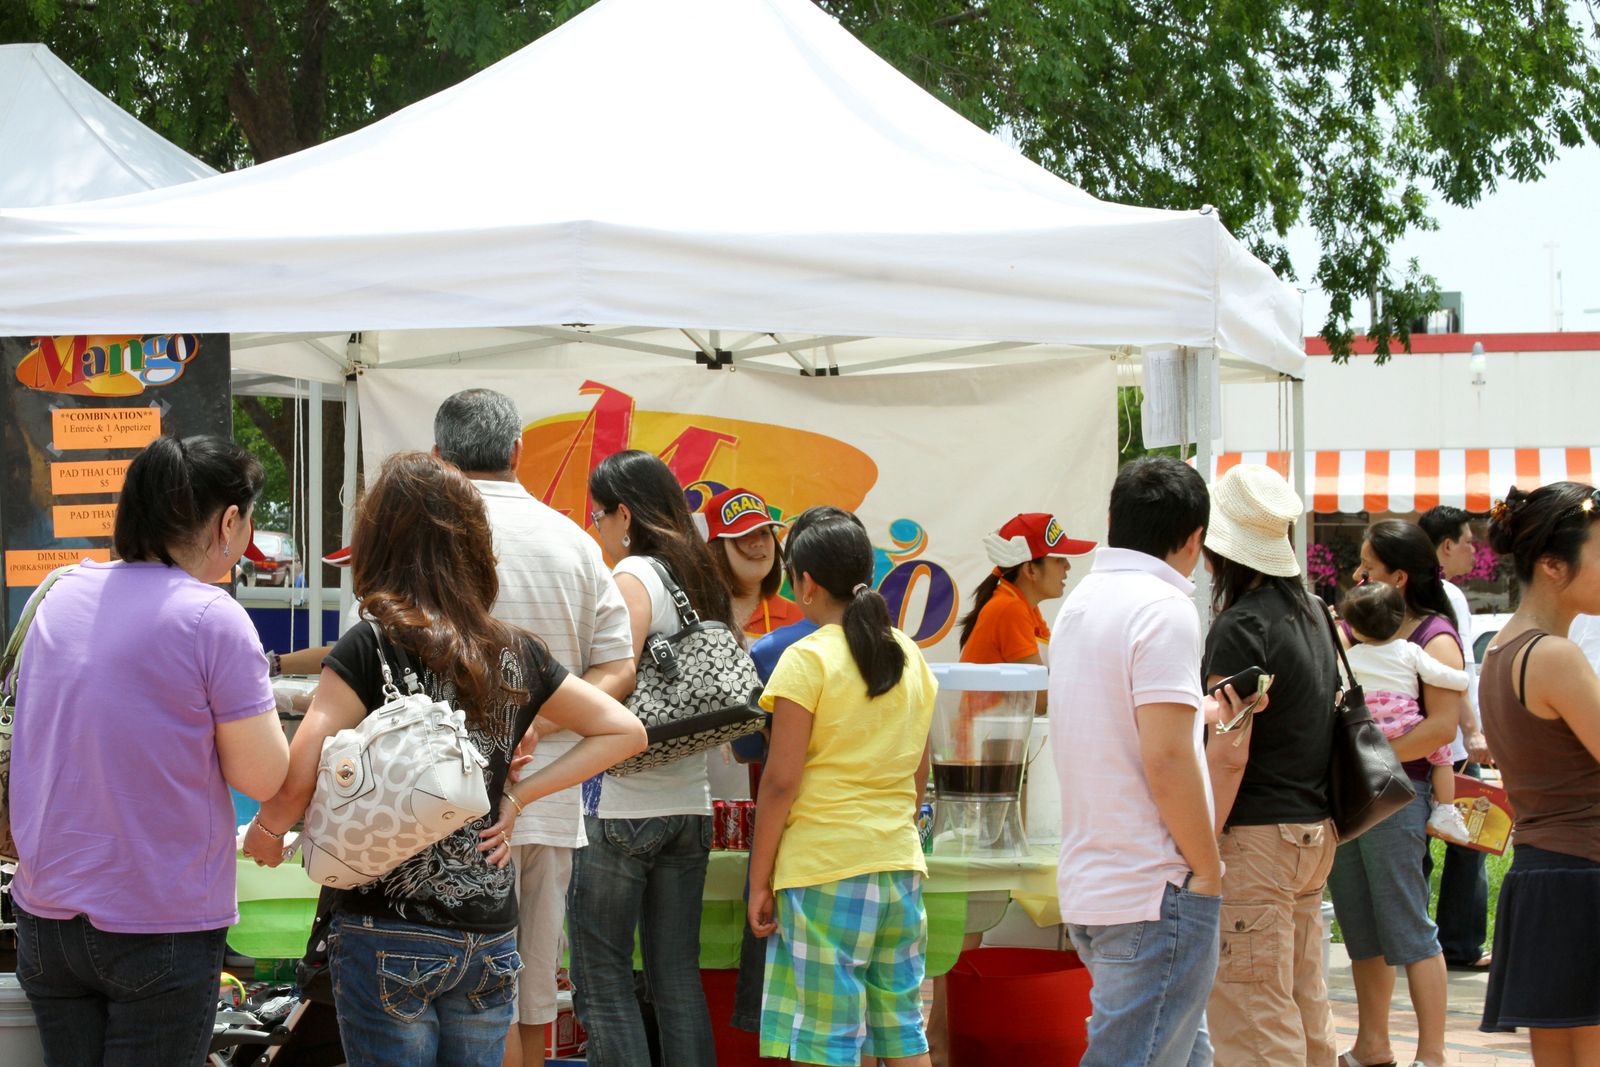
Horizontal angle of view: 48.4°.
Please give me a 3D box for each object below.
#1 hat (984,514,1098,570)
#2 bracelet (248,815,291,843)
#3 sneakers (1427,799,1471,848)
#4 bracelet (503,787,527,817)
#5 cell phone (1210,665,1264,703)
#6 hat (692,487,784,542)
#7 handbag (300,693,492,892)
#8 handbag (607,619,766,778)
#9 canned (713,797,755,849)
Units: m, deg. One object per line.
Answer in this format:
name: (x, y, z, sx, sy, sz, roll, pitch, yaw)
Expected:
hat: (1.039, 0.029, 7.739, 0.385, 0.159, 0.255, -3, 4, -12)
bracelet: (-1.592, 0.876, 5.318, 0.103, 0.057, 0.085, 16, 1, -7)
sneakers: (2.910, 1.313, 7.991, 0.222, 0.159, 0.135, 9, -4, 10)
bracelet: (-0.869, 0.823, 5.420, 0.062, 0.035, 0.049, 36, 11, 33)
cell phone: (1.511, 0.524, 6.112, 0.216, 0.124, 0.157, 1, -3, 13)
hat: (-0.283, -0.057, 7.009, 0.259, 0.149, 0.369, -3, -2, -21)
handbag: (-1.181, 0.735, 5.083, 0.566, 0.437, 0.211, -25, -16, 17)
handbag: (-0.421, 0.570, 6.234, 0.429, 0.430, 0.200, -21, -10, -4)
canned: (-0.268, 1.159, 7.123, 0.172, 0.178, 0.177, 2, 0, 9)
